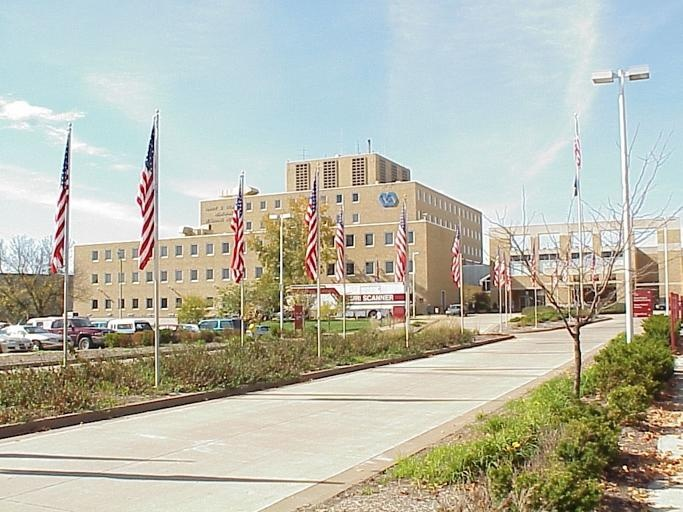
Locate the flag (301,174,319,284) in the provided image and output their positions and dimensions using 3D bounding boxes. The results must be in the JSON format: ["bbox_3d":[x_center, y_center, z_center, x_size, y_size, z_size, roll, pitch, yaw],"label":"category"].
[{"bbox_3d":[-0.933,-0.816,29.663,0.531,5.423,0.643,3,-5,-43],"label":"flag"}]

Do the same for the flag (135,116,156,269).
[{"bbox_3d":[-5.366,-1.918,23.287,0.499,4.199,1.435,0,-7,-13],"label":"flag"}]
